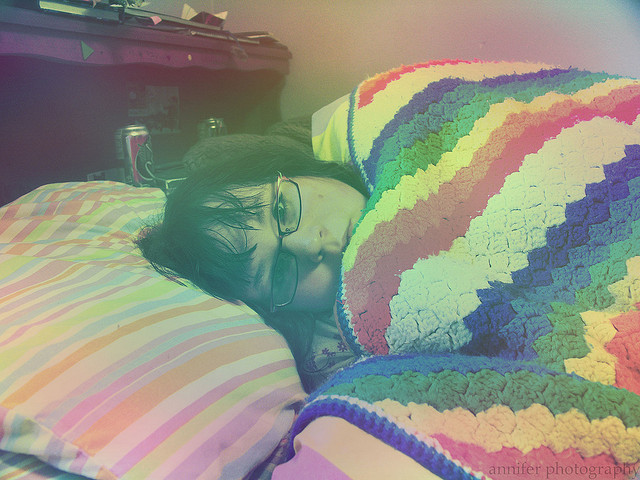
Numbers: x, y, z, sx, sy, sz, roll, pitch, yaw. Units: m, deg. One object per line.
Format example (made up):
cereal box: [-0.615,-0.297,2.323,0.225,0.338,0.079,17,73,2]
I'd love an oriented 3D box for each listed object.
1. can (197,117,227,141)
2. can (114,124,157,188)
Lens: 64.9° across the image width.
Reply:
can: [-0.424,-0.438,2.019,0.100,0.103,0.106,-1,16,18]
can: [-0.576,-0.265,1.624,0.102,0.228,0.133,-16,30,-42]
